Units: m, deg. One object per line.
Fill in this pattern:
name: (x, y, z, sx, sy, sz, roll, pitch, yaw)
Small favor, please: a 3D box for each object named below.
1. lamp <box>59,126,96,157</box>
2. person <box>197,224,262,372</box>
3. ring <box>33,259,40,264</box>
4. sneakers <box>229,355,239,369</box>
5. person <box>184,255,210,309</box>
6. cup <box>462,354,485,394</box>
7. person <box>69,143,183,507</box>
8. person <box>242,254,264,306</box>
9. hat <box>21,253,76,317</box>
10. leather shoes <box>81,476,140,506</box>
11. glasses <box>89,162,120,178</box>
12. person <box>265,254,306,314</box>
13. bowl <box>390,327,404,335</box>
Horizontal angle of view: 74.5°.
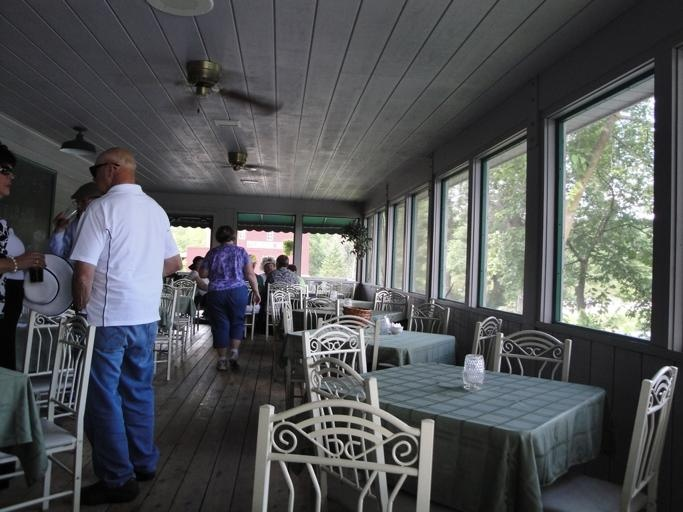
lamp: (-3.495, -1.508, 6.054, 0.450, 0.368, 0.481, 1, -8, -9)
person: (-1.404, 0.479, 5.765, 0.689, 1.752, 0.611, 1, 1, -14)
ring: (-1.810, 0.032, 2.667, 0.025, 0.027, 0.010, 3, 4, -29)
sneakers: (-1.343, 1.347, 5.647, 0.148, 0.150, 0.110, 1, -7, -16)
person: (-2.681, 0.513, 8.374, 0.379, 0.997, 0.549, 24, 18, 33)
cup: (0.760, 0.655, 2.583, 0.122, 0.188, 0.209, 3, 1, 16)
person: (-1.341, 0.397, 2.779, 0.587, 2.153, 0.402, 2, 1, -32)
person: (-1.187, 0.452, 5.942, 0.293, 0.891, 0.258, 1, 25, -1)
hat: (-1.793, 0.164, 2.854, 0.347, 0.378, 0.100, -30, 1, 4)
leather shoes: (-1.375, 1.428, 2.731, 0.336, 0.151, 0.127, 5, -15, -7)
glasses: (-1.487, -0.550, 2.804, 0.115, 0.041, 0.114, -1, -2, -6)
person: (-1.025, 0.608, 7.681, 0.634, 1.061, 0.581, 9, -12, -25)
bowl: (0.529, 0.721, 4.278, 0.081, 0.050, 0.084, 0, -13, 0)
